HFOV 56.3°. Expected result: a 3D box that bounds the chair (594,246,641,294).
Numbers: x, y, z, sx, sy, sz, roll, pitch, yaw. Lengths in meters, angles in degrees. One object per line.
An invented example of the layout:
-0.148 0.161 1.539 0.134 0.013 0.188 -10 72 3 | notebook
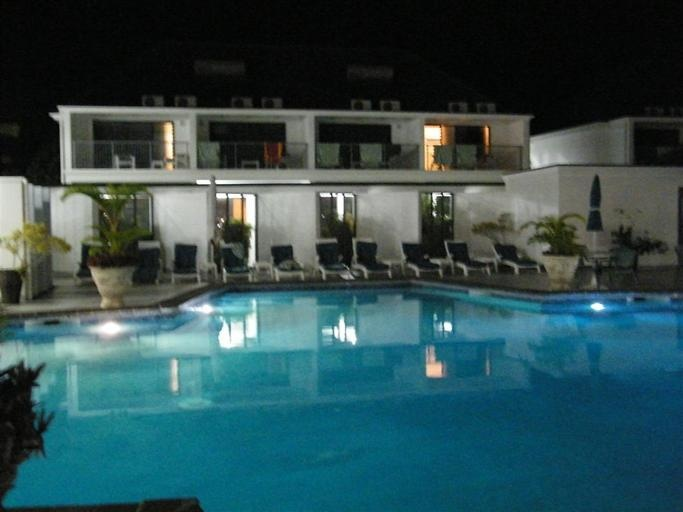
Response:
7.255 0.401 17.212 1.196 1.298 1.272 -1 3 -1 | chair

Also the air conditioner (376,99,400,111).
1.848 -5.973 24.809 0.893 0.678 0.513 0 2 -3 | air conditioner

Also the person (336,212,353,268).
0.030 -0.699 25.730 0.547 2.549 0.600 -5 -26 2 | person

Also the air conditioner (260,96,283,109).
-2.662 -5.814 24.270 0.689 0.361 3.317 -2 14 -7 | air conditioner

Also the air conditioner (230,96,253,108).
-3.812 -5.843 24.249 0.673 0.349 2.530 -3 15 -11 | air conditioner
